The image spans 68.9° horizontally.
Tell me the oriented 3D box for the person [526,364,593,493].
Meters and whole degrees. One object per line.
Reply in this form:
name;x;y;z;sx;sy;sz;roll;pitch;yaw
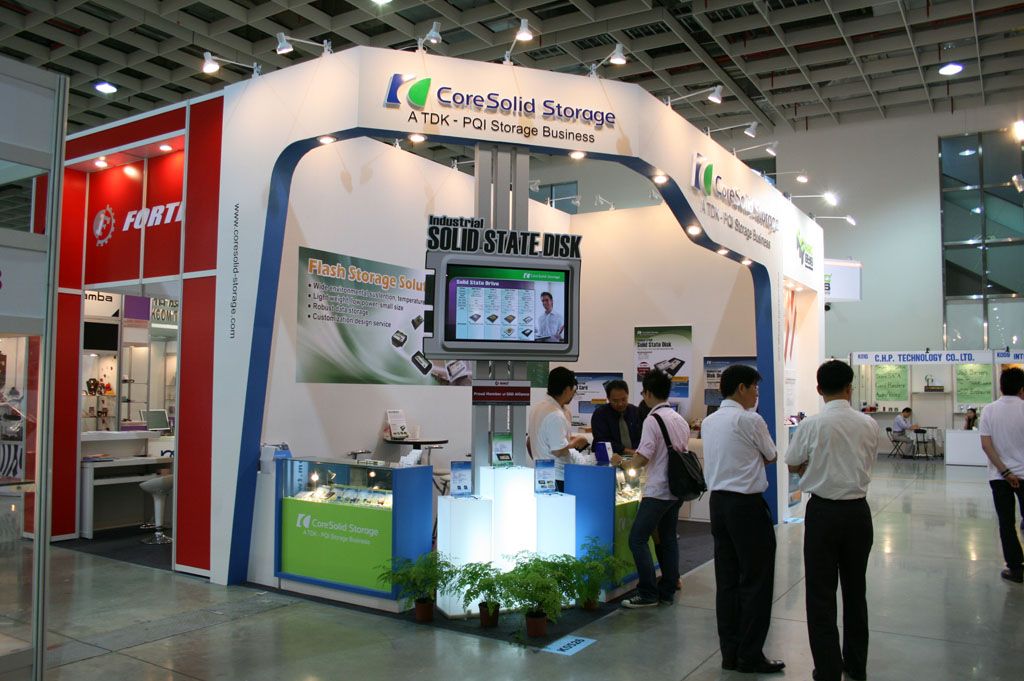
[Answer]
person;0.421;0.743;7.062;0.594;0.977;0.581;0;1;-18

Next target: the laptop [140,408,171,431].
laptop;-5.324;1.191;11.151;0.123;0.302;0.305;-13;-11;38

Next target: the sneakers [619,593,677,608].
sneakers;1.226;2.337;6.771;0.490;0.191;0.166;5;-8;-10

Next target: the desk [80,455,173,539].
desk;-4.751;1.923;9.145;0.307;0.666;0.931;-5;-7;31

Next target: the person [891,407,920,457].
person;9.529;2.208;18.193;0.497;1.167;1.006;1;1;28

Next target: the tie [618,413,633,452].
tie;1.153;0.958;7.655;0.206;0.286;0.075;-1;-8;-30

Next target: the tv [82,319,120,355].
tv;-5.524;-0.047;10.012;0.065;0.325;0.464;-6;-7;32

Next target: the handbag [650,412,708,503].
handbag;1.428;1.021;6.460;0.440;0.762;0.228;0;1;11

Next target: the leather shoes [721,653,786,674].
leather shoes;1.801;2.376;5.615;0.488;0.202;0.166;-1;-3;1

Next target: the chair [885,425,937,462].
chair;9.825;2.489;18.184;0.731;0.591;0.917;0;0;15
